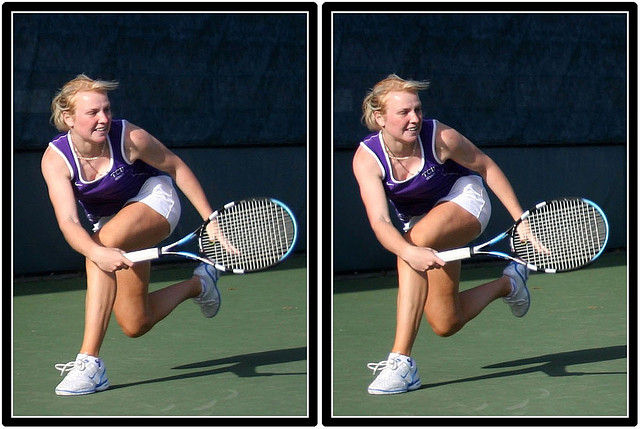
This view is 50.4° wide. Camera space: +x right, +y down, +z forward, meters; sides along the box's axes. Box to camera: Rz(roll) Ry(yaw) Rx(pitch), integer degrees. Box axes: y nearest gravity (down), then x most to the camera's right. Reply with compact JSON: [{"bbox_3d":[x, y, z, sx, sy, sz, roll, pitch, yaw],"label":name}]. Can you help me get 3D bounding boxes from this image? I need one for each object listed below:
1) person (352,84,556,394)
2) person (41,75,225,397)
[{"bbox_3d":[0.882,0.177,5.046,1.331,2.202,0.760,3,12,3],"label":"person"},{"bbox_3d":[-1.461,0.121,5.250,1.285,2.290,1.117,0,12,-13],"label":"person"}]
